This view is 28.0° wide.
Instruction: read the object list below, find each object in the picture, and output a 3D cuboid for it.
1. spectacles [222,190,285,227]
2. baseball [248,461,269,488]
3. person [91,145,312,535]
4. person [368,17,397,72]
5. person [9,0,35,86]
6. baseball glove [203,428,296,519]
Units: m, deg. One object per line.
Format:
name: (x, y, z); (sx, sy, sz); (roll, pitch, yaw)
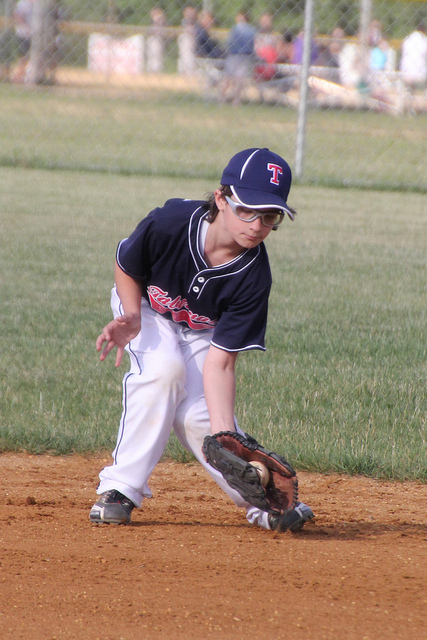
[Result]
spectacles: (0.129, -0.300, 2.439); (0.113, 0.032, 0.114); (7, 23, -40)
baseball: (0.125, 0.431, 2.390); (0.024, 0.063, 0.066); (-5, -1, -7)
person: (-0.012, 0.066, 2.681); (0.737, 1.160, 0.690); (9, 4, 21)
person: (2.046, -3.328, 10.350); (0.298, 0.550, 0.739); (10, 11, 25)
person: (-2.282, -3.268, 10.123); (0.262, 0.886, 0.920); (2, 11, -14)
baseball glove: (0.105, 0.408, 2.454); (0.128, 0.182, 0.290); (-31, 32, -19)
